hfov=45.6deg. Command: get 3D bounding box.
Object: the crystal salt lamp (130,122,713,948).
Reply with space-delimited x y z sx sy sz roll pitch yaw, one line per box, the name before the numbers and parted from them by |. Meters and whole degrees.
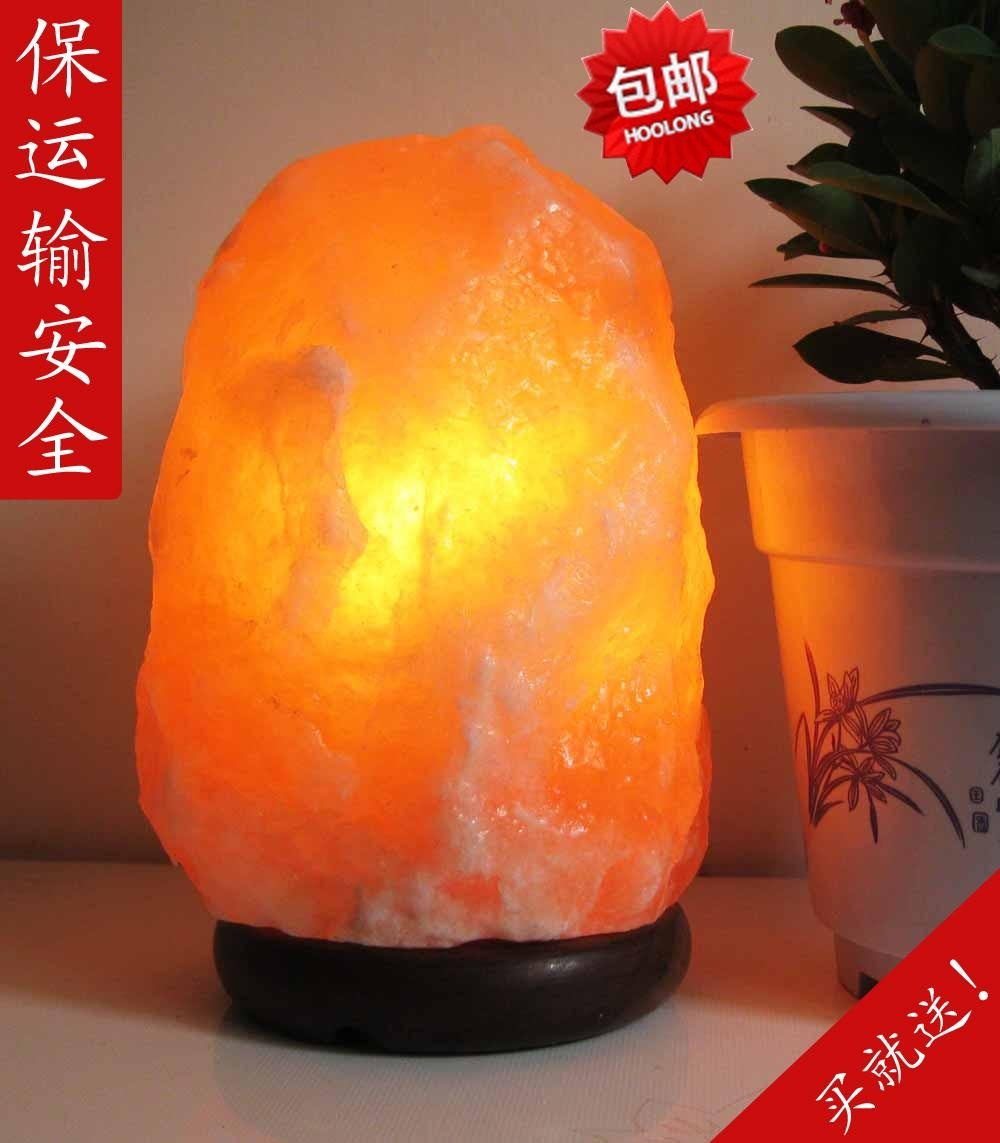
crystal salt lamp | -0.035 -0.019 0.508 0.239 0.348 0.133 -2 11 -13
